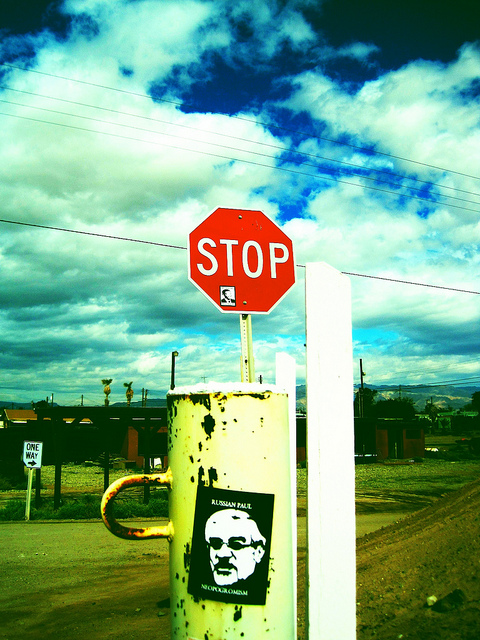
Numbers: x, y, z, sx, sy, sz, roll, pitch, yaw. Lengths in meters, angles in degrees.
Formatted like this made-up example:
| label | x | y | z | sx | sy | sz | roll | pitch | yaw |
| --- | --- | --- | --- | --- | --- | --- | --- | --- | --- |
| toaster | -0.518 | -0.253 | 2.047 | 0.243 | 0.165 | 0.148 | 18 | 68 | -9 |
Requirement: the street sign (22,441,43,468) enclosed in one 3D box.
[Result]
| label | x | y | z | sx | sy | sz | roll | pitch | yaw |
| --- | --- | --- | --- | --- | --- | --- | --- | --- | --- |
| street sign | -3.684 | 2.403 | 10.540 | 0.302 | 0.477 | 0.554 | 2 | -8 | -21 |

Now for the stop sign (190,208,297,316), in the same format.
| label | x | y | z | sx | sy | sz | roll | pitch | yaw |
| --- | --- | --- | --- | --- | --- | --- | --- | --- | --- |
| stop sign | 0.016 | -0.258 | 2.838 | 0.532 | 0.583 | 0.044 | 0 | 4 | 3 |
